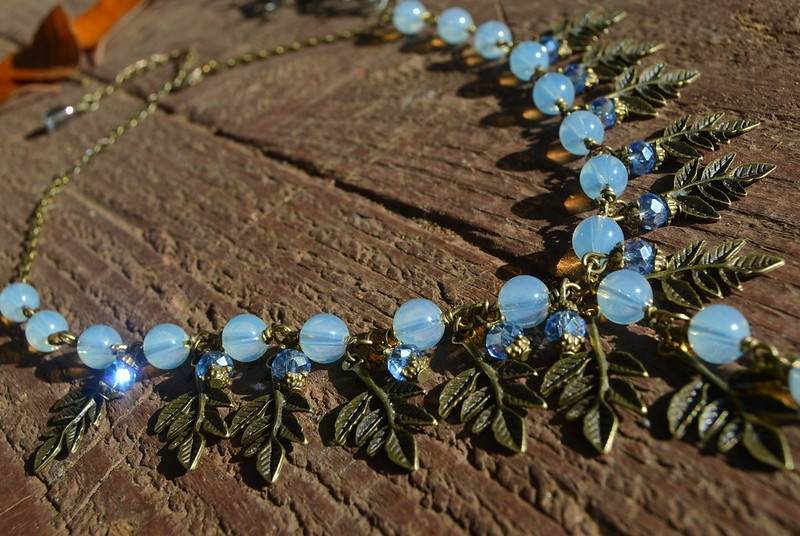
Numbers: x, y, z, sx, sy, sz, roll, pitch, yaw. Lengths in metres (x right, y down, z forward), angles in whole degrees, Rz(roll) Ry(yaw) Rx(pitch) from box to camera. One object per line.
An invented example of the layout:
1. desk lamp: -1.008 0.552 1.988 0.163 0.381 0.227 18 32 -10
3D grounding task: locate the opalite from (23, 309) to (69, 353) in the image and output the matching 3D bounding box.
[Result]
1. opalite: -1.251 0.215 2.658 0.152 0.140 0.167 -13 78 -29

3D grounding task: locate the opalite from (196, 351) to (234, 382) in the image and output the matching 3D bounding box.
1. opalite: -0.620 0.315 2.420 0.099 0.054 0.094 0 69 -13

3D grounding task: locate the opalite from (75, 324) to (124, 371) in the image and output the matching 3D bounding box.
1. opalite: -1.059 0.291 2.565 0.139 0.155 0.136 14 21 21

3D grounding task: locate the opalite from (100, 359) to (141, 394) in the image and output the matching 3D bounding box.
1. opalite: -0.957 0.368 2.507 0.117 0.028 0.111 40 82 12

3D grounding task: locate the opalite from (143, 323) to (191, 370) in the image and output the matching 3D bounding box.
1. opalite: -0.770 0.277 2.511 0.154 0.149 0.168 2 73 -12

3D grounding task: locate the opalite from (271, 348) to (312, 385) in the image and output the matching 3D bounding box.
1. opalite: -0.359 0.323 2.396 0.113 0.086 0.108 1 34 -9

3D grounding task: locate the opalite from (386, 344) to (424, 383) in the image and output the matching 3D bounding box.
1. opalite: 0.014 0.306 2.382 0.118 0.094 0.093 17 50 24

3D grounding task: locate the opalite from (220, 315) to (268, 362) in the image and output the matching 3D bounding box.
1. opalite: -0.542 0.229 2.505 0.151 0.147 0.145 14 18 32
